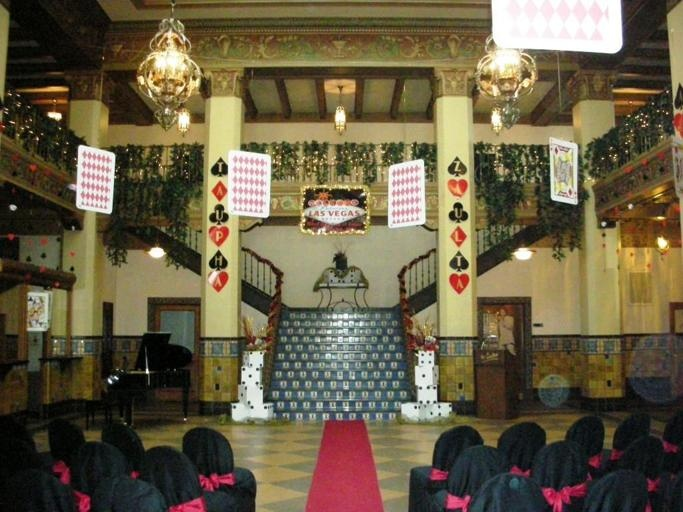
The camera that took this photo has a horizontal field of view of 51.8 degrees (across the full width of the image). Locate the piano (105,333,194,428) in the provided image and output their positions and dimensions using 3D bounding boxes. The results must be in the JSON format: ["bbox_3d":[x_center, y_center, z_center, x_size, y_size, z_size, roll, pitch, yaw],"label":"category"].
[{"bbox_3d":[-3.669,2.303,13.599,1.768,1.948,1.343,3,-7,-31],"label":"piano"}]
